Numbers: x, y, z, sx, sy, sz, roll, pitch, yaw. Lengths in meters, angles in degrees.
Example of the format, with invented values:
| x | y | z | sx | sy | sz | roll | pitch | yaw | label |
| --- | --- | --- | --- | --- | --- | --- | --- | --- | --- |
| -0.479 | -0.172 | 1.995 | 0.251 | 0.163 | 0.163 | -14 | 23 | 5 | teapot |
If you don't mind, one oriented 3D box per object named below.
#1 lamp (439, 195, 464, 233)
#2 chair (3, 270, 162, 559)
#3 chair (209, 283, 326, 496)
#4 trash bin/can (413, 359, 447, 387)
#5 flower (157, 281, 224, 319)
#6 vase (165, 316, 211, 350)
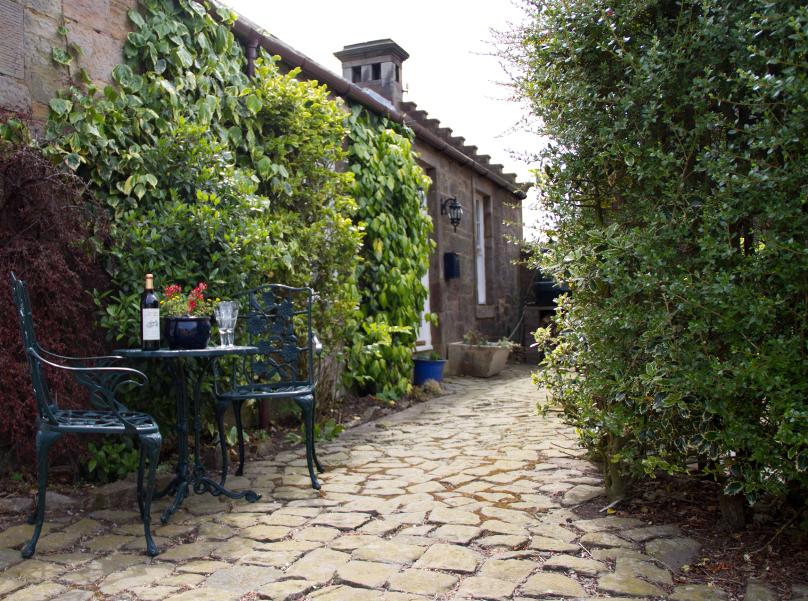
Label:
| x | y | z | sx | sy | sz | roll | pitch | yaw | label |
| --- | --- | --- | --- | --- | --- | --- | --- | --- | --- |
| 0.698 | -1.240 | 10.387 | 0.268 | 0.480 | 0.830 | 1 | 7 | 10 | lamp |
| -1.818 | 0.575 | 4.184 | 0.727 | 1.495 | 1.184 | -3 | 7 | -21 | chair |
| -0.936 | 0.588 | 5.093 | 0.744 | 1.365 | 0.586 | -2 | -1 | -1 | chair |
| 0.303 | 0.886 | 8.828 | 0.321 | 0.239 | 0.322 | 0 | -4 | -11 | trash bin/can |
| -1.409 | 0.008 | 4.613 | 0.295 | 0.206 | 0.299 | 5 | 7 | 39 | flower |
| -1.320 | 0.201 | 4.392 | 0.204 | 0.150 | 0.206 | 0 | -6 | -1 | vase |
